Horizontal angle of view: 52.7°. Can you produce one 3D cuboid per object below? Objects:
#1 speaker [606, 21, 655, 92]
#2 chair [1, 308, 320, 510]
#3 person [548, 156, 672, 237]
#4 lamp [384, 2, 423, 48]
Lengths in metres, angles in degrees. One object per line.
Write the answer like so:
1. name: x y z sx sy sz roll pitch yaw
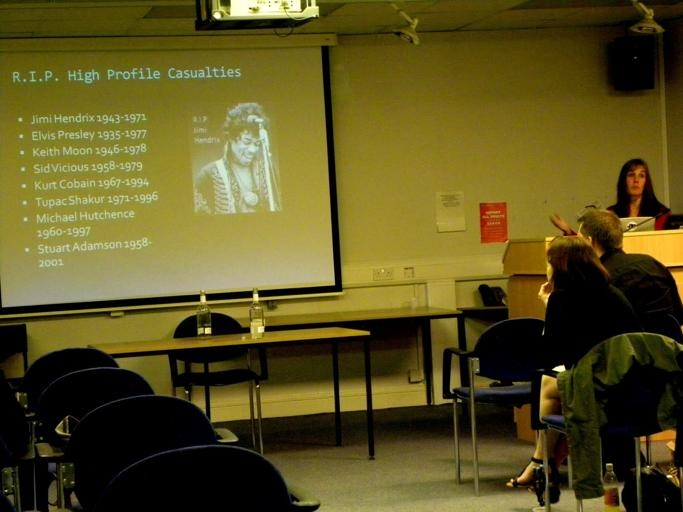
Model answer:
1. speaker: 3.106 -2.067 7.269 0.539 0.649 0.279 -3 1 -14
2. chair: -1.167 0.844 4.207 1.151 1.520 1.093 -2 4 -21
3. person: 2.341 -0.546 6.213 0.825 1.206 0.384 0 -28 10
4. lamp: 0.559 -2.176 6.435 0.443 0.177 0.190 34 10 -6
